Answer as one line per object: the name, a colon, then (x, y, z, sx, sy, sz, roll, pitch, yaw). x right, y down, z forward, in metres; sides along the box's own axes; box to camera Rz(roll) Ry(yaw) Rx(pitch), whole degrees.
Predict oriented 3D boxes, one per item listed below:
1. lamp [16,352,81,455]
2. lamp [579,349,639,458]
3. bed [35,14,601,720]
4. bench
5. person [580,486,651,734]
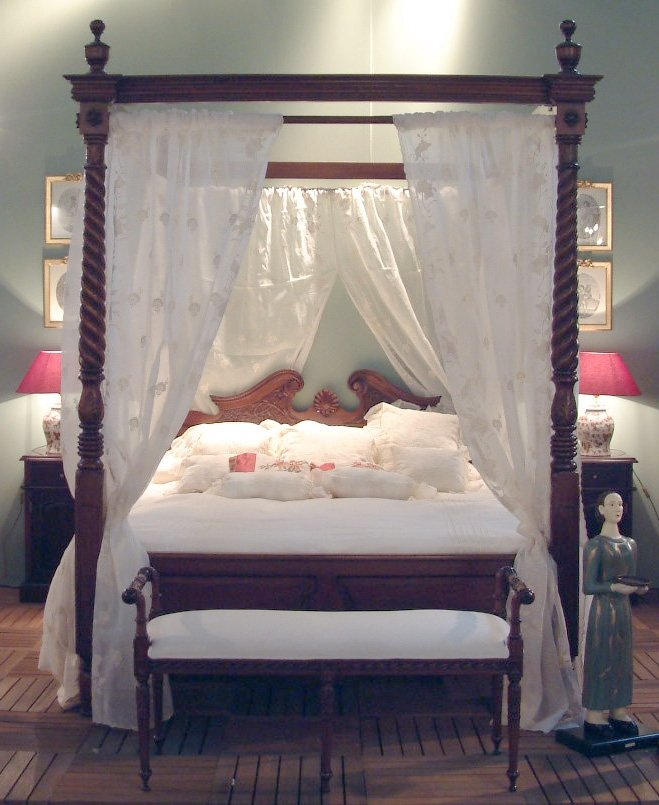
lamp: (-1.508, 0.009, 5.006, 0.287, 0.534, 0.300, 1, -1, 25)
lamp: (1.473, 0.011, 5.018, 0.404, 0.544, 0.412, 4, 1, 18)
bed: (-0.016, 0.014, 3.646, 2.133, 2.643, 0.981, 0, -9, 1)
bench: (-0.002, 0.923, 3.213, 1.319, 0.719, 0.484, 0, 0, -2)
person: (1.020, 0.766, 3.300, 0.210, 0.880, 0.274, 2, 6, 16)
